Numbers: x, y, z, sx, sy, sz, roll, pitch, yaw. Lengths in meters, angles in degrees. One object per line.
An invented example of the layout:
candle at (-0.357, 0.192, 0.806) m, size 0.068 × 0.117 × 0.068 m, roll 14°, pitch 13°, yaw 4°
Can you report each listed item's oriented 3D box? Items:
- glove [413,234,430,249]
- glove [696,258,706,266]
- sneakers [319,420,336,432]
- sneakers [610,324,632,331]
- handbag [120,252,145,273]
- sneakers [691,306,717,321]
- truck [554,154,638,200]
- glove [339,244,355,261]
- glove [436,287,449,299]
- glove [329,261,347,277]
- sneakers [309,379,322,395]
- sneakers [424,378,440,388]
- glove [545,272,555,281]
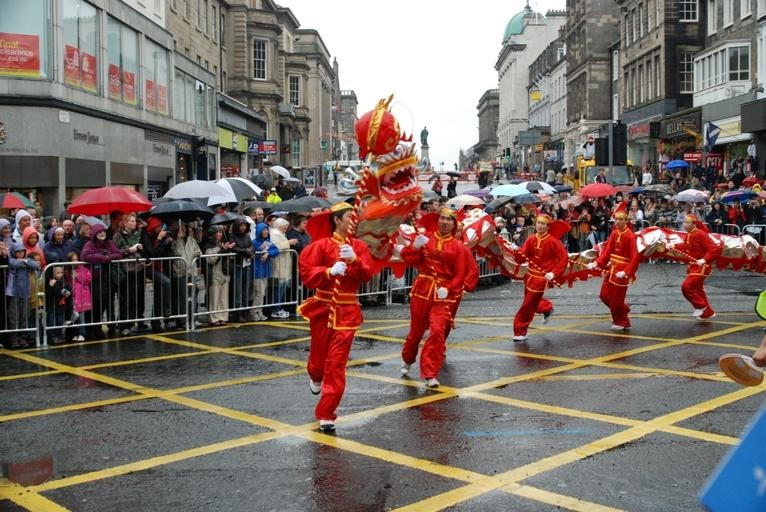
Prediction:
glove at (0.499, -0.199, 11.512) m, size 0.187 × 0.194 × 0.196 m, roll -1°, pitch 12°, yaw -1°
glove at (5.765, 0.108, 15.403) m, size 0.119 × 0.086 × 0.139 m, roll -1°, pitch -24°, yaw 32°
sneakers at (-0.656, 1.998, 9.957) m, size 0.200 × 0.133 × 0.210 m, roll -2°, pitch 11°, yaw -7°
sneakers at (4.101, 1.264, 14.694) m, size 0.292 × 0.097 × 0.118 m, roll 0°, pitch 3°, yaw 31°
handbag at (-4.284, 0.134, 14.472) m, size 0.387 × 0.372 × 0.440 m, roll -5°, pitch 12°, yaw -17°
sneakers at (5.809, 1.044, 15.409) m, size 0.449 × 0.210 × 0.190 m, roll -5°, pitch 12°, yaw 8°
truck at (9.097, -3.714, 36.598) m, size 2.530 × 2.124 × 5.416 m, roll -2°, pitch 2°, yaw -6°
glove at (-0.430, -0.047, 9.952) m, size 0.177 × 0.203 × 0.196 m, roll -2°, pitch 12°, yaw -3°
glove at (0.809, 0.518, 11.647) m, size 0.160 × 0.131 × 0.175 m, roll -12°, pitch 0°, yaw 12°
glove at (-0.525, 0.150, 9.945) m, size 0.208 × 0.173 × 0.185 m, roll -3°, pitch 12°, yaw -10°
sneakers at (-0.850, 1.659, 10.641) m, size 0.132 × 0.235 × 0.196 m, roll -2°, pitch 12°, yaw -3°
sneakers at (0.666, 1.715, 11.488) m, size 0.195 × 0.132 × 0.222 m, roll -1°, pitch 11°, yaw 2°
glove at (2.794, 0.345, 14.299) m, size 0.175 × 0.121 × 0.109 m, roll 7°, pitch 12°, yaw 10°
